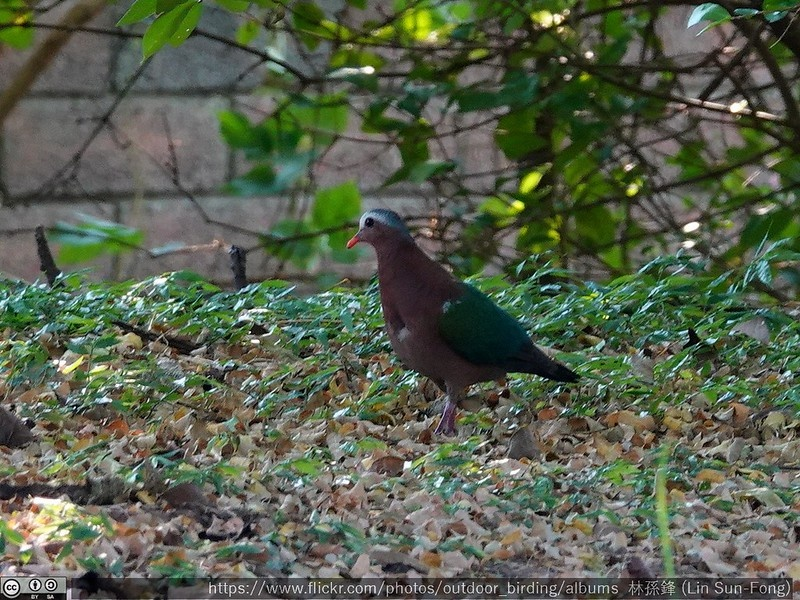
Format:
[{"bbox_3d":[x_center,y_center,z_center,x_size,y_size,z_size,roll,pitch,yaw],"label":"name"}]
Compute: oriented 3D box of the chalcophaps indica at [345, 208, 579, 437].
[{"bbox_3d":[0.241,0.052,2.826,0.876,0.654,0.359,4,-15,-2],"label":"chalcophaps indica"}]
